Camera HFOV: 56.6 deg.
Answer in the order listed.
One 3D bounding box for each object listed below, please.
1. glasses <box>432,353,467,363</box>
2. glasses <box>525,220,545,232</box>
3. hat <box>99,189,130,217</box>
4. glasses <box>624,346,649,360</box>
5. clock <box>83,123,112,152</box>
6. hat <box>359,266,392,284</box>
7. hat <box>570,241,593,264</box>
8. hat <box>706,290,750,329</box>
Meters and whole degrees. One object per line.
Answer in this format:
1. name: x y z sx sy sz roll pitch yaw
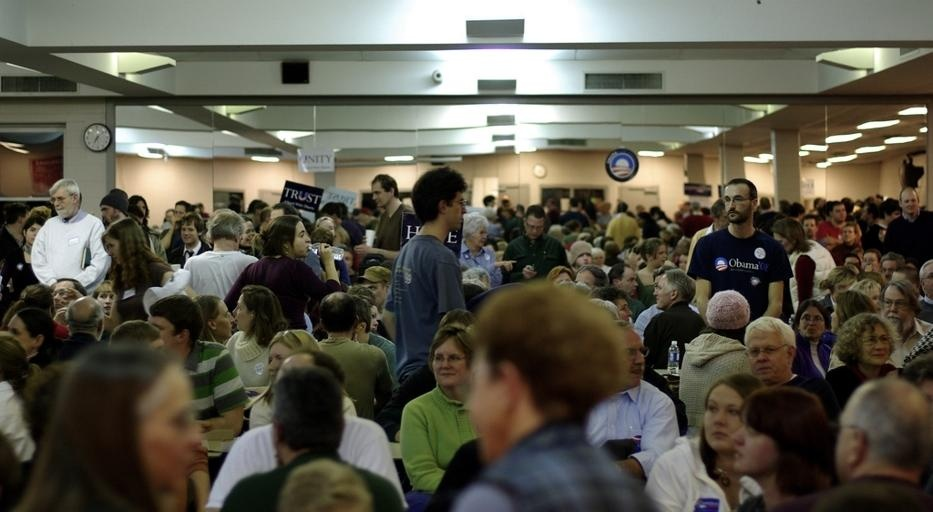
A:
1. glasses: -0.143 0.875 7.547 0.288 0.065 0.026 1 2 7
2. glasses: 0.936 -0.441 11.876 0.205 0.224 0.186 6 22 -7
3. hat: -4.636 -0.727 11.506 0.375 0.302 0.343 -1 -5 14
4. glasses: 1.516 0.864 7.795 0.154 0.110 0.190 -8 -1 -24
5. clock: -6.115 -1.979 14.351 0.476 0.456 0.076 -4 -5 -5
6. hat: -1.061 0.217 10.284 0.245 0.124 0.348 1 -1 29
7. hat: 1.597 -0.078 12.355 0.304 0.283 0.338 2 0 -10
8. hat: 2.572 0.552 8.669 0.385 0.276 0.389 -1 13 36
